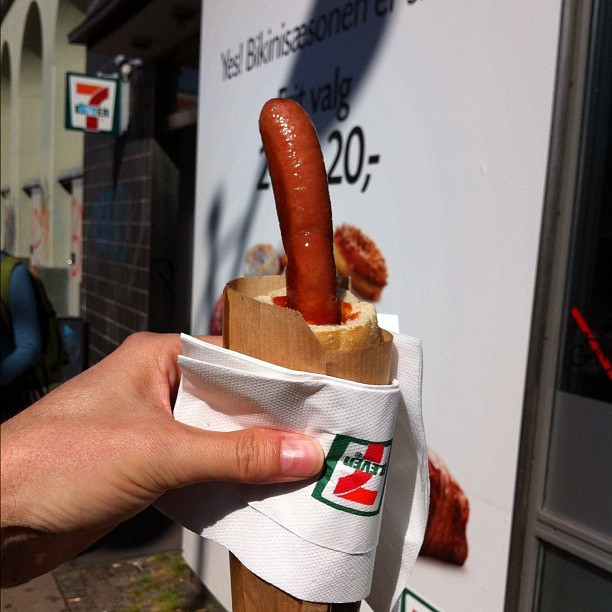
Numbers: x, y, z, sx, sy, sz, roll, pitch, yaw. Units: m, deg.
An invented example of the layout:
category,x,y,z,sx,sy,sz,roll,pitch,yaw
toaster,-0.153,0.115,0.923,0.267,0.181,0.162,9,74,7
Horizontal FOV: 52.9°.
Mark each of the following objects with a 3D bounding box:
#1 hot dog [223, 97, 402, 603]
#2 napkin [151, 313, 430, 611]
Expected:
category,x,y,z,sx,sy,sz,roll,pitch,yaw
hot dog,0.006,0.134,1.111,0.335,0.949,0.270,7,7,10
napkin,-0.007,0.307,1.149,0.520,0.559,0.319,4,7,-20
